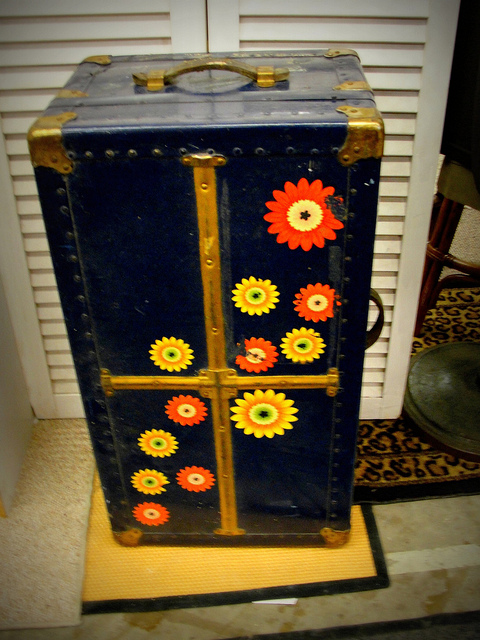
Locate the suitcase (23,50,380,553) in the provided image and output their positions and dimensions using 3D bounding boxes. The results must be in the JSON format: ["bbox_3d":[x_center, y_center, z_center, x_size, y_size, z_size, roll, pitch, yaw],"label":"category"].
[{"bbox_3d":[-0.042,0.054,1.542,0.691,1.339,0.371,0,34,2],"label":"suitcase"}]
